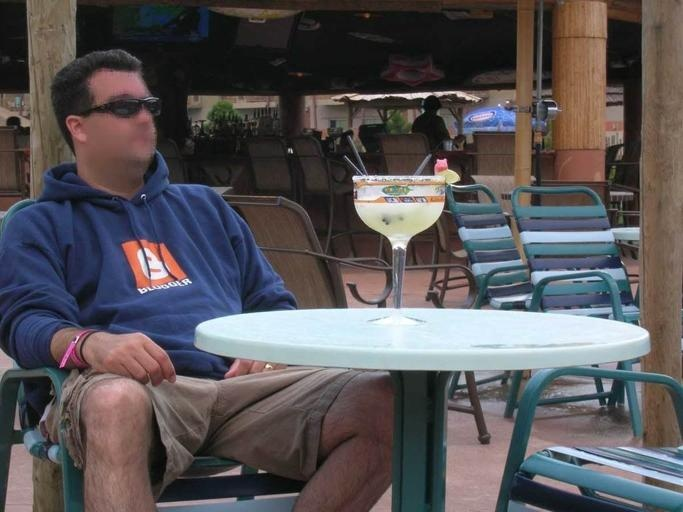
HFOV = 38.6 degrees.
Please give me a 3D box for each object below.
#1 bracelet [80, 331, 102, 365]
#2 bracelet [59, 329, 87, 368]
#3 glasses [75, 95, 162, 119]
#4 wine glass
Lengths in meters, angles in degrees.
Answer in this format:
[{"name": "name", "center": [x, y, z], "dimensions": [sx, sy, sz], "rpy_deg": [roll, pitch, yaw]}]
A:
[{"name": "bracelet", "center": [-0.760, 0.265, 2.908], "dimensions": [0.021, 0.076, 0.080], "rpy_deg": [7, -31, -42]}, {"name": "bracelet", "center": [-0.810, 0.287, 2.927], "dimensions": [0.043, 0.104, 0.075], "rpy_deg": [38, 7, -29]}, {"name": "glasses", "center": [-0.766, -0.521, 3.426], "dimensions": [0.170, 0.052, 0.127], "rpy_deg": [-2, 9, 38]}, {"name": "wine glass", "center": [0.170, -0.025, 2.789], "dimensions": [0.259, 0.416, 0.203], "rpy_deg": [-3, 4, -32]}]
